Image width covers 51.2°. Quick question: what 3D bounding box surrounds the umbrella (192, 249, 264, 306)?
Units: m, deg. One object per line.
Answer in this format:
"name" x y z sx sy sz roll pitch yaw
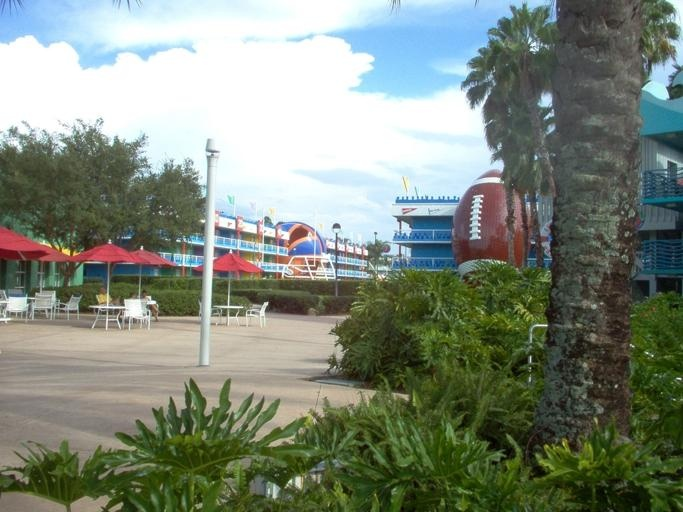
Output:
"umbrella" -5.280 1.007 33.146 2.986 3.032 3.359 -1 -1 20

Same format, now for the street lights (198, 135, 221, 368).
"street lights" -3.183 0.293 17.293 0.556 6.420 0.684 3 4 -13

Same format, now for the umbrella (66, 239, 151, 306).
"umbrella" -6.746 -0.011 20.707 2.126 2.727 2.258 1 1 17
